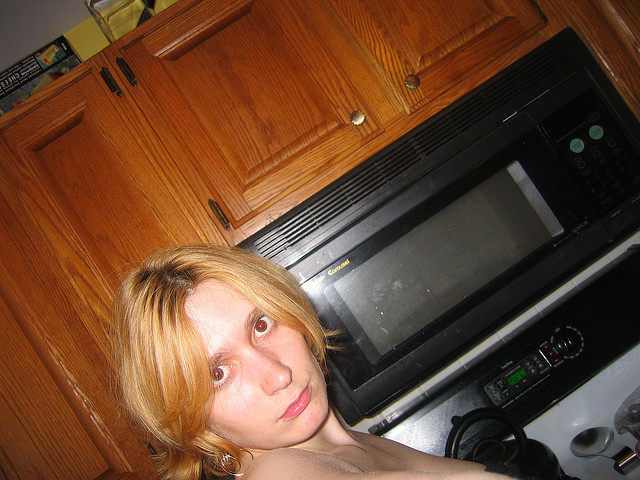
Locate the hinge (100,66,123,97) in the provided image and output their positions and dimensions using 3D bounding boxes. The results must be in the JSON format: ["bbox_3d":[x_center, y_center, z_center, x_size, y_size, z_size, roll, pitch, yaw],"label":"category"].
[{"bbox_3d":[-0.630,-0.475,1.609,0.021,0.088,0.026,-30,-3,1],"label":"hinge"}]

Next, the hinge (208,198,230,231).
[{"bbox_3d":[-0.297,-0.075,1.584,0.023,0.090,0.023,-32,-10,26],"label":"hinge"}]

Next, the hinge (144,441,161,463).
[{"bbox_3d":[-0.470,0.594,1.497,0.014,0.064,0.056,-25,30,-4],"label":"hinge"}]
